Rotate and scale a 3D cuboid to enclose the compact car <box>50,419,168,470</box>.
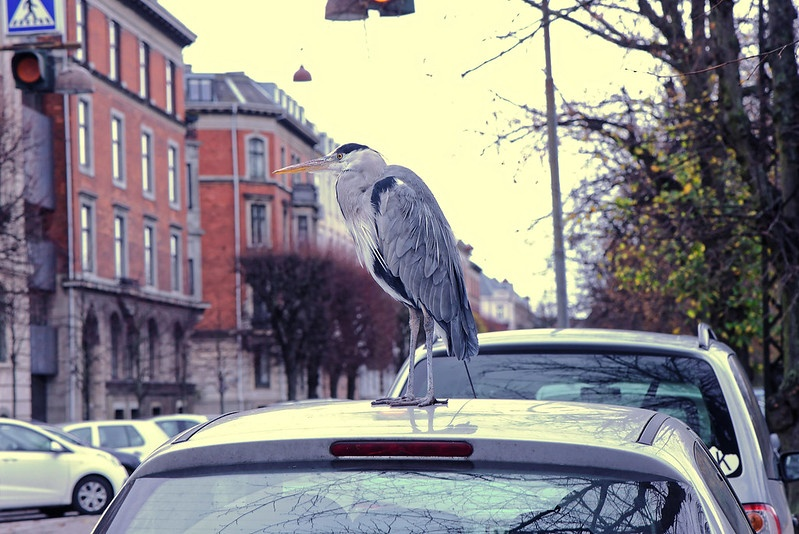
[{"bbox_3d":[-6.615,4.035,40.176,2.374,1.202,1.509,-12,-2,-1],"label":"compact car"}]

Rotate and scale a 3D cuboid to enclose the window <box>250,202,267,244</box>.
[{"bbox_3d":[-4.741,-1.531,62.323,0.091,1.663,1.691,1,2,28],"label":"window"}]
